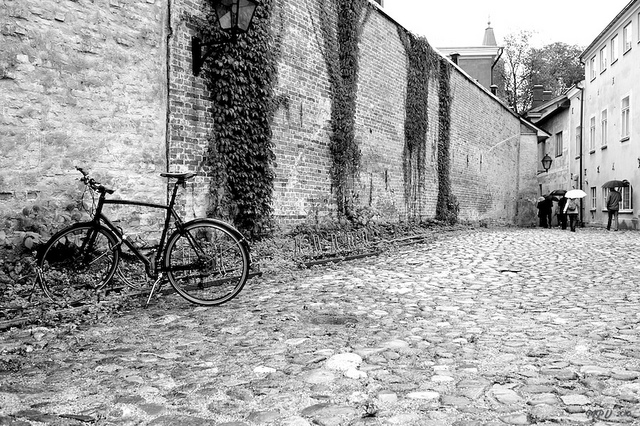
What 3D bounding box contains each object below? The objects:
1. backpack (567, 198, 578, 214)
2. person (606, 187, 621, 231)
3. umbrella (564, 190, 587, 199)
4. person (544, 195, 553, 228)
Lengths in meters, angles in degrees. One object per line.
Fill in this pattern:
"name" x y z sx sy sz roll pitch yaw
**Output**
"backpack" 11.011 -0.307 24.434 0.656 0.820 0.458 0 1 31
"person" 12.719 -0.192 24.341 0.498 1.856 0.921 6 12 26
"umbrella" 11.384 -0.847 25.032 0.672 0.377 1.407 5 12 21
"person" 12.641 -0.164 31.098 0.422 1.693 1.021 5 12 21
